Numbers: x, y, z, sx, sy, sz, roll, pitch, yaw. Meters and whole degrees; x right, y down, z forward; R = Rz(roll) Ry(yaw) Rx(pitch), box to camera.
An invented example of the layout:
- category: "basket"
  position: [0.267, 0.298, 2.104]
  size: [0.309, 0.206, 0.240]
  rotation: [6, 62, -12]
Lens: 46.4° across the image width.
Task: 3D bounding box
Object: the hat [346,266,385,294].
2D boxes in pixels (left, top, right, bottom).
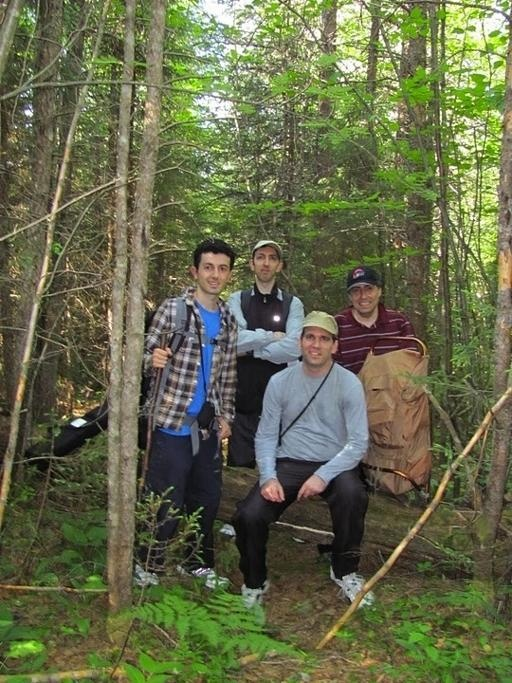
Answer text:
- category: "hat"
  position: [0.920, -0.531, 5.104]
  size: [0.225, 0.144, 0.281]
  rotation: [-8, -8, 15]

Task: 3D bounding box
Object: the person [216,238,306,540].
- category: "person"
  position: [0.085, 0.390, 5.348]
  size: [0.891, 2.431, 0.671]
  rotation: [-4, 11, -2]

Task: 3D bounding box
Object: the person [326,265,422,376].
- category: "person"
  position: [0.919, -0.108, 5.030]
  size: [0.867, 0.991, 0.647]
  rotation: [-4, 7, 20]
